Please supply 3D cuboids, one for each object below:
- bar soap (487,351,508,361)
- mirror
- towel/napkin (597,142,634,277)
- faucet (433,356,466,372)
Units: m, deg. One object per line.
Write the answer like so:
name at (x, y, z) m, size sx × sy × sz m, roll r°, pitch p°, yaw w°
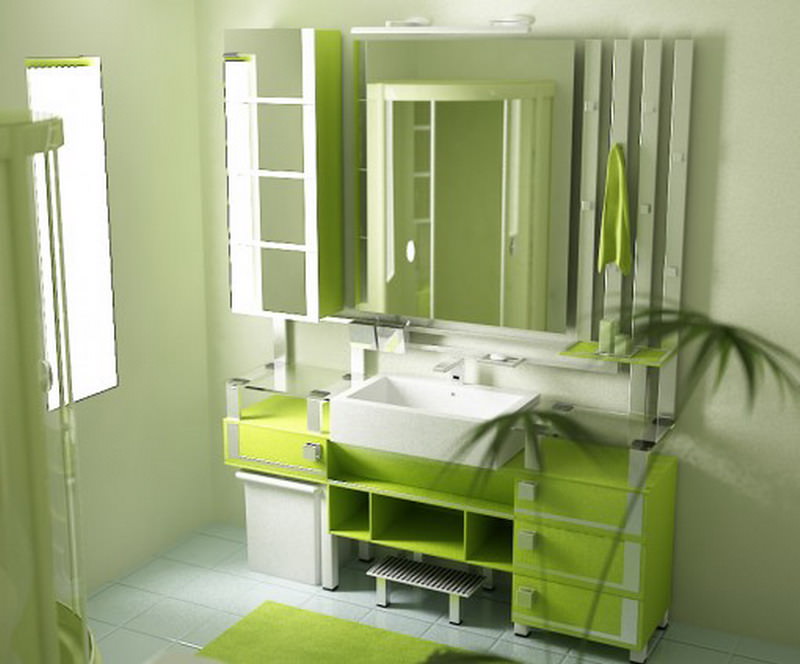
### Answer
bar soap at (0.451, 0.116, 3.439) m, size 0.091 × 0.016 × 0.078 m, roll 1°, pitch 15°, yaw 10°
mirror at (0.004, -0.637, 3.412) m, size 1.633 × 1.421 × 0.200 m, roll 1°, pitch -10°, yaw 13°
towel/napkin at (0.890, -0.507, 3.062) m, size 0.119 × 0.517 × 0.161 m, roll 2°, pitch 14°, yaw 15°
faucet at (0.228, 0.161, 3.402) m, size 0.110 × 0.065 × 0.196 m, roll 2°, pitch 15°, yaw 11°
